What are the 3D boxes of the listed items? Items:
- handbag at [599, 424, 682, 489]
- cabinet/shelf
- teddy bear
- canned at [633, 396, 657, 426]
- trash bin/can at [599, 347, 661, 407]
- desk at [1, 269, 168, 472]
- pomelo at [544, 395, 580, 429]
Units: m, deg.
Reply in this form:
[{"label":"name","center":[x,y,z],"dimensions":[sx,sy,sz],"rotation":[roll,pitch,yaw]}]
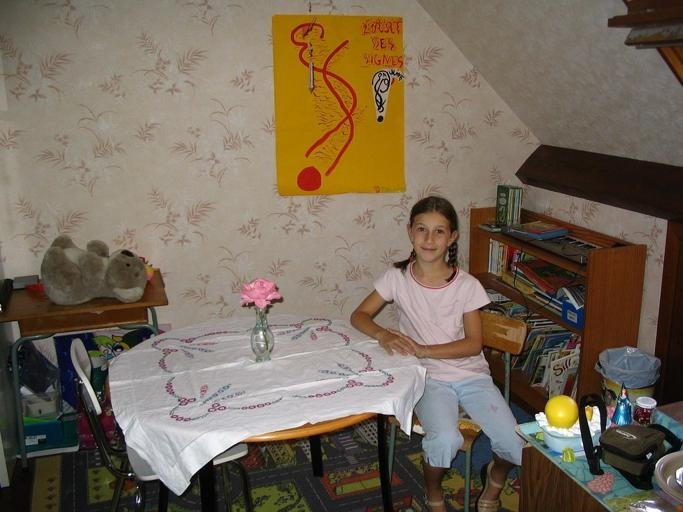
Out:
[{"label":"handbag","center":[0.902,0.566,1.447],"dimensions":[0.221,0.087,0.150],"rotation":[-23,18,-11]},{"label":"cabinet/shelf","center":[1.167,0.350,2.559],"dimensions":[0.351,0.891,0.976],"rotation":[-5,16,-13]},{"label":"teddy bear","center":[-1.244,0.077,2.458],"dimensions":[0.450,0.188,0.349],"rotation":[3,45,-34]},{"label":"canned","center":[0.997,0.510,1.612],"dimensions":[0.058,0.087,0.043],"rotation":[0,7,26]},{"label":"trash bin/can","center":[1.480,0.637,2.524],"dimensions":[0.295,0.262,0.275],"rotation":[4,17,18]},{"label":"desk","center":[-1.245,0.581,3.050],"dimensions":[1.188,0.984,0.856],"rotation":[-5,25,-18]},{"label":"pomelo","center":[0.710,0.503,1.576],"dimensions":[0.109,0.103,0.102],"rotation":[16,-23,-12]}]
